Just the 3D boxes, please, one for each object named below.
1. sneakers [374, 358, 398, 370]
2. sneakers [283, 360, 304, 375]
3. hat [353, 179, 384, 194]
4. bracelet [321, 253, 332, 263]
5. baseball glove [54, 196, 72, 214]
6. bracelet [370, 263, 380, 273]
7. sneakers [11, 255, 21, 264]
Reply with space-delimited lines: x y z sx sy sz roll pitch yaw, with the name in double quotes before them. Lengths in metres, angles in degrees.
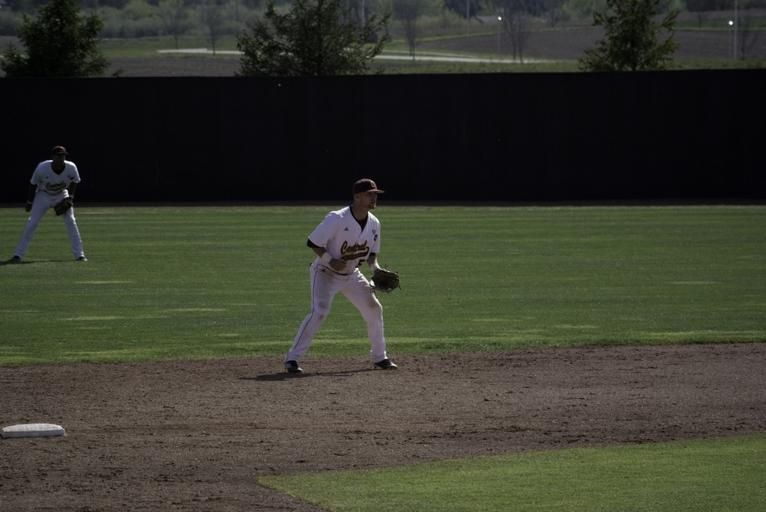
"sneakers" 0.055 2.751 42.697 0.599 0.206 0.258 -2 3 3
"sneakers" -2.269 2.835 42.488 0.273 0.199 0.524 2 -3 -29
"hat" -0.441 -1.758 42.412 0.575 0.353 0.582 1 7 6
"bracelet" -1.429 0.038 42.263 0.295 0.250 0.069 32 5 -2
"baseball glove" -9.327 -1.472 49.072 0.548 0.387 0.210 -44 13 -10
"bracelet" -0.201 0.287 42.909 0.216 0.195 0.237 -6 3 -13
"sneakers" -10.714 0.079 49.096 0.321 0.225 0.389 -1 7 -11
